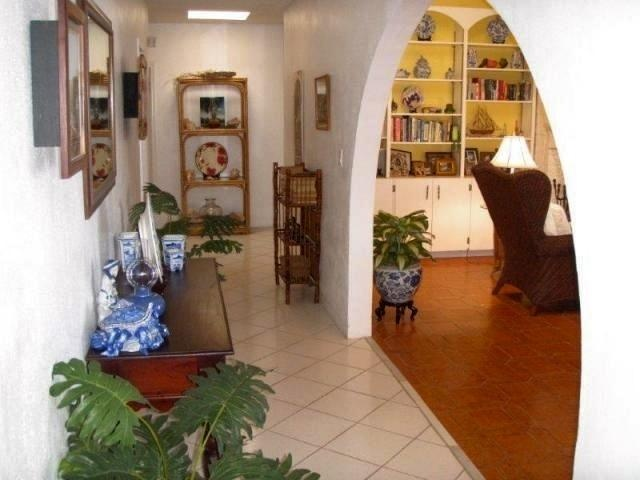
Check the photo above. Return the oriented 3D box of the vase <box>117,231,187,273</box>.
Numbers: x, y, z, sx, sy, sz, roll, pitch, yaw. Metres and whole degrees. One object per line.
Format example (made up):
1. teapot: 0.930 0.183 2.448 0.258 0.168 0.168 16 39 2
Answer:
1. vase: -1.020 0.084 2.938 0.383 0.250 0.255 -2 14 -13

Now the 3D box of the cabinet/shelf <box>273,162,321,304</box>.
1. cabinet/shelf: -0.258 -0.061 5.404 0.531 1.988 1.194 1 13 -5

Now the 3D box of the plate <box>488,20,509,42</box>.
1. plate: 2.608 -3.042 7.010 0.320 0.383 0.289 4 13 16

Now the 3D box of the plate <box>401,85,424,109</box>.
1. plate: 1.318 -2.040 6.897 0.241 0.335 0.280 -6 8 -2

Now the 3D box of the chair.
1. chair: 2.141 -0.029 5.010 1.050 1.479 0.541 8 14 33

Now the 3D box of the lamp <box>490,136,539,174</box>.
1. lamp: 2.455 -1.074 6.001 0.482 0.578 0.525 8 15 36

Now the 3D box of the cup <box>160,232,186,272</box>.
1. cup: -0.960 0.075 3.118 0.202 0.239 0.204 0 4 0

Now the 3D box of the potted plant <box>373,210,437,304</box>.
1. potted plant: 0.717 0.154 4.979 0.781 1.012 0.804 0 5 -1
